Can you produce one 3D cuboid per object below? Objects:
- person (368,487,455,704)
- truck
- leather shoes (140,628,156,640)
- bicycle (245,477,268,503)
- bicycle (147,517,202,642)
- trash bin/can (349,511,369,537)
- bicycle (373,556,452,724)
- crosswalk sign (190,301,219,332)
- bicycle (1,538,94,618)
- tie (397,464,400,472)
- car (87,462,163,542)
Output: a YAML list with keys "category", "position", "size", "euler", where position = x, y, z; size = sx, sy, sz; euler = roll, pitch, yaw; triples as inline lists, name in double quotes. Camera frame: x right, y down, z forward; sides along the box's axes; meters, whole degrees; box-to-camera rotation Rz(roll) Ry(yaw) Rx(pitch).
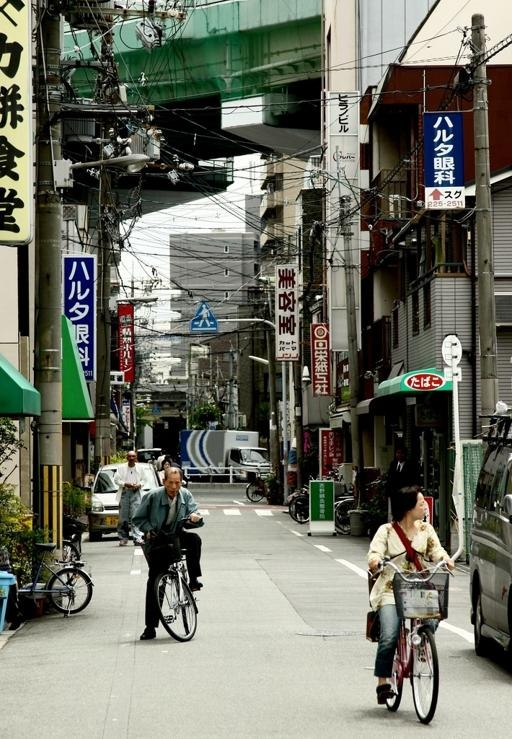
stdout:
- category: "person"
  position: [0.982, 1.445, 8.033]
  size: [0.448, 1.324, 1.238]
  euler: [2, -1, -2]
- category: "truck"
  position: [-1.807, 4.951, 71.282]
  size: [5.067, 2.895, 5.719]
  euler: [-1, -2, -6]
- category: "leather shoes"
  position: [-1.012, 2.504, 11.727]
  size: [0.173, 0.149, 0.073]
  euler: [4, -6, 17]
- category: "bicycle"
  position: [0.029, 4.896, 50.346]
  size: [1.025, 0.761, 0.545]
  euler: [-7, 12, -16]
- category: "bicycle"
  position: [-0.763, 2.000, 11.803]
  size: [0.696, 1.100, 0.688]
  euler: [0, -2, -29]
- category: "trash bin/can"
  position: [2.303, 3.553, 28.554]
  size: [0.495, 0.613, 0.519]
  euler: [8, -12, -40]
- category: "bicycle"
  position: [1.001, 1.707, 7.684]
  size: [0.460, 1.002, 1.002]
  euler: [-1, -2, 0]
- category: "crosswalk sign"
  position: [-1.866, -1.886, 44.158]
  size: [0.931, 1.032, 1.070]
  euler: [-1, -2, -3]
- category: "bicycle"
  position: [-2.305, 2.375, 13.788]
  size: [1.001, 0.760, 0.574]
  euler: [1, -4, -5]
- category: "tie"
  position: [2.731, 1.871, 23.535]
  size: [0.054, 0.125, 0.078]
  euler: [3, 7, 9]
- category: "car"
  position: [-3.052, 2.969, 27.666]
  size: [1.492, 1.693, 3.024]
  euler: [-1, -7, -3]
